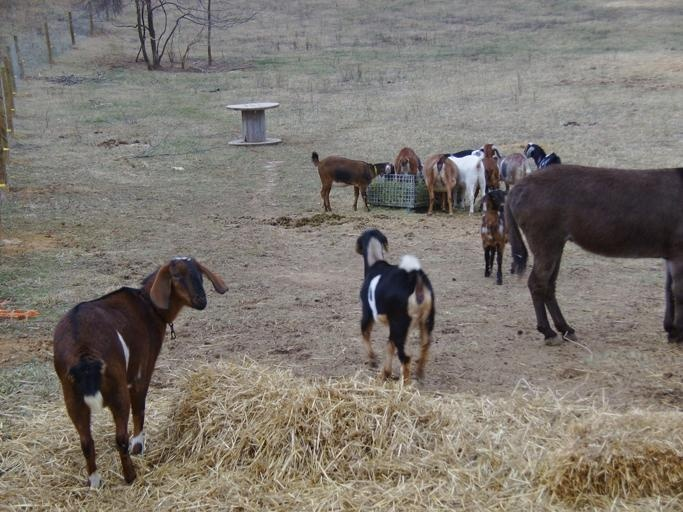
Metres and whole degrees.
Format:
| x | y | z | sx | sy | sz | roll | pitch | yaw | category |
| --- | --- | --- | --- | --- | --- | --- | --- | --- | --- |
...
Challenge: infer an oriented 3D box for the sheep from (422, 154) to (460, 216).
| x | y | z | sx | sy | sz | roll | pitch | yaw | category |
| --- | --- | --- | --- | --- | --- | --- | --- | --- | --- |
| 2.257 | -1.613 | 16.690 | 0.783 | 1.306 | 1.104 | 1 | 10 | 6 | sheep |

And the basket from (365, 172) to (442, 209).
| x | y | z | sx | sy | sz | roll | pitch | yaw | category |
| --- | --- | --- | --- | --- | --- | --- | --- | --- | --- |
| 1.352 | -1.505 | 17.651 | 1.186 | 0.760 | 0.859 | 3 | -3 | 23 | basket |
